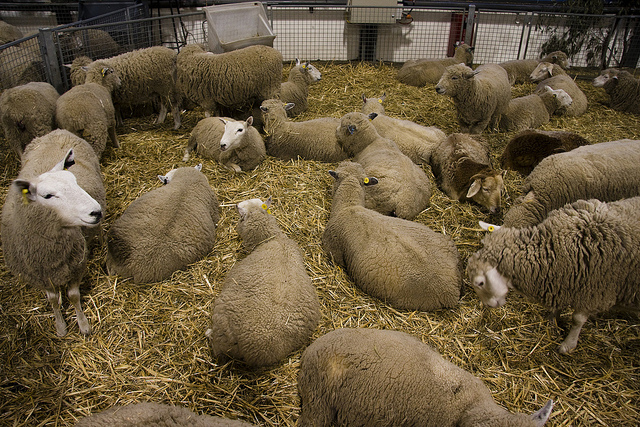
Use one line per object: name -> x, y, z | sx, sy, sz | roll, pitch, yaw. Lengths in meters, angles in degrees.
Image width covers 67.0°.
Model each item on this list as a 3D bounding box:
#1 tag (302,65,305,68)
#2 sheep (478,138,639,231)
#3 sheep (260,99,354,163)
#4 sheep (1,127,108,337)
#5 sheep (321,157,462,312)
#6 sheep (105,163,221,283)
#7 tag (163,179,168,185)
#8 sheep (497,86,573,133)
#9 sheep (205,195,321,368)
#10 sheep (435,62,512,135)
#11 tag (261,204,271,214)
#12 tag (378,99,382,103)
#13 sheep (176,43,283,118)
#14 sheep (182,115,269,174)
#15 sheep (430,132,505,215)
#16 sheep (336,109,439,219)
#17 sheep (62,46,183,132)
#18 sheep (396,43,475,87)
tag -> -0.348, -3.030, 9.950 | 0.038, 0.036, 0.065 | -3, 53, -8
sheep -> 3.226, -0.366, 6.499 | 1.911, 1.044, 0.627 | -16, 74, 31
sheep -> -0.307, -1.297, 8.273 | 1.631, 0.827, 0.831 | 24, 31, 24
sheep -> -3.212, 0.225, 5.884 | 1.139, 1.941, 1.865 | -8, 26, -22
sheep -> 0.785, 0.529, 6.544 | 1.200, 1.106, 2.053 | -20, 49, -15
sheep -> -2.017, 0.162, 6.792 | 1.307, 1.209, 2.182 | 11, 34, -4
tag -> -2.180, -0.441, 6.779 | 0.026, 0.039, 0.075 | -3, 66, -8
sheep -> 4.355, -1.988, 9.898 | 1.656, 0.777, 0.552 | -22, 28, -14
sheep -> -0.747, 0.765, 5.862 | 0.998, 0.943, 1.850 | 14, 47, -26
sheep -> 2.908, -2.142, 9.096 | 1.516, 1.246, 0.768 | -15, 30, -35
tag -> -0.705, -0.047, 6.351 | 0.059, 0.022, 0.156 | -37, 74, -21
tag -> 1.145, -2.150, 9.264 | 0.074, 0.039, 0.073 | 8, 40, 25
sheep -> -1.603, -2.401, 8.926 | 1.645, 0.937, 1.278 | -6, 53, -2
sheep -> -1.607, -1.312, 7.909 | 0.832, 0.676, 1.282 | -24, 42, -23
sheep -> 2.309, -0.586, 7.638 | 0.809, 0.855, 1.594 | -32, 33, 17
sheep -> 1.035, -0.935, 7.461 | 0.994, 1.104, 2.196 | -14, 50, -13
sheep -> -3.560, -2.507, 9.003 | 2.514, 1.757, 1.092 | -6, 40, -15
sheep -> 2.921, -3.613, 12.208 | 2.111, 1.170, 0.709 | -11, 42, -14
